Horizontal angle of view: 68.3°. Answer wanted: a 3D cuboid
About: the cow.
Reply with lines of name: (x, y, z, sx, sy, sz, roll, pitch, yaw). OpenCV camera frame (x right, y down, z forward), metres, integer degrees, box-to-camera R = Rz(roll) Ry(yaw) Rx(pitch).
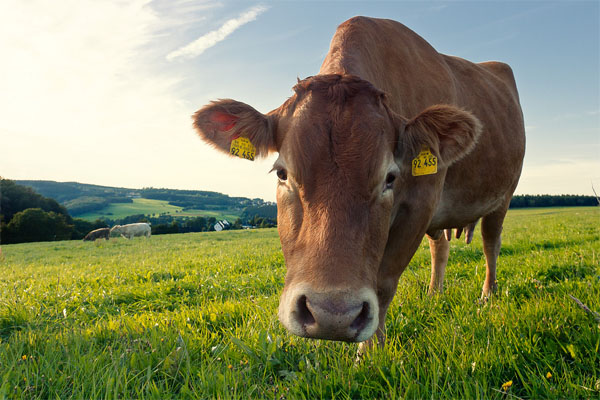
cow: (1.710, -0.477, 7.087, 3.055, 4.674, 6.230, 0, 1, 43)
